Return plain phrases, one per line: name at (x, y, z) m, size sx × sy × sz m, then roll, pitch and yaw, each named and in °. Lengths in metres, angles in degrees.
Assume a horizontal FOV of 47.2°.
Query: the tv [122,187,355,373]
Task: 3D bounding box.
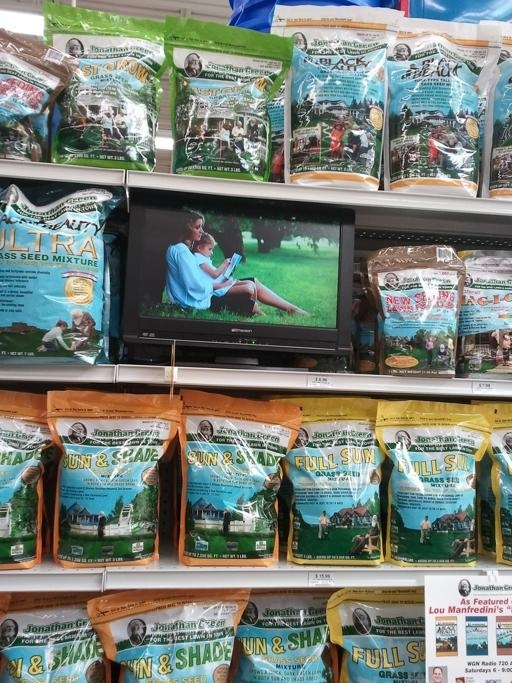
tv at (-0.055, -0.166, 1.469) m, size 0.471 × 0.320 × 0.061 m, roll 2°, pitch -6°, yaw -10°
